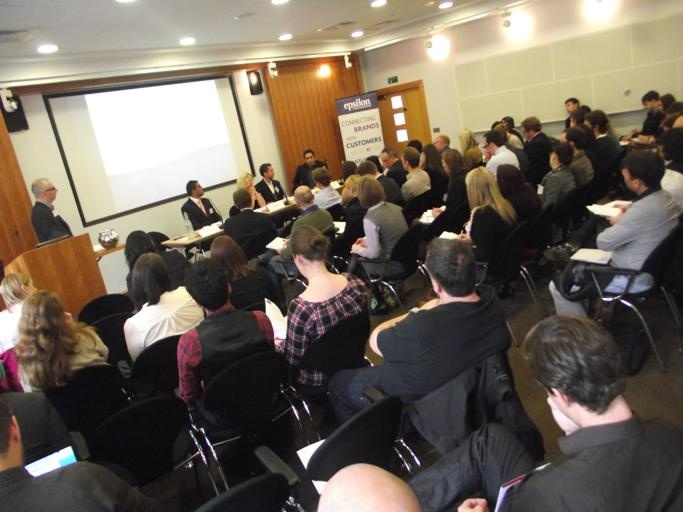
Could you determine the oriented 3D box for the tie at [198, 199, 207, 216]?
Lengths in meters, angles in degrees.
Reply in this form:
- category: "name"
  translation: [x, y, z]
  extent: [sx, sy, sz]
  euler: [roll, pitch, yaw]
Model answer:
- category: "tie"
  translation: [-1.985, -0.687, 7.178]
  extent: [0.033, 0.103, 0.400]
  euler: [-36, 51, 12]
